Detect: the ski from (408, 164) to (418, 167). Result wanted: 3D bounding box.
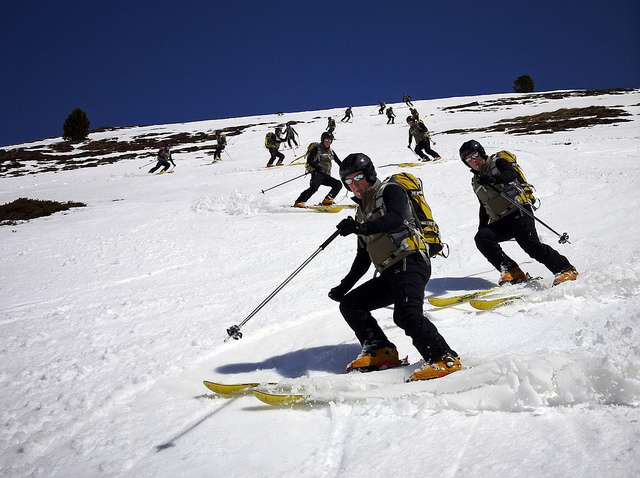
[{"bbox_3d":[3.728,-2.977,18.002,0.304,0.102,0.102,-9,9,24],"label":"ski"}]

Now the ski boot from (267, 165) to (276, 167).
[{"bbox_3d":[-2.418,-3.621,22.206,0.280,0.095,0.205,-5,1,-1],"label":"ski boot"}]

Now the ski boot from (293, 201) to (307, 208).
[{"bbox_3d":[-0.584,-0.969,12.704,0.344,0.205,0.199,-13,8,-3],"label":"ski boot"}]

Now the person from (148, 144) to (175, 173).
[{"bbox_3d":[-8.629,-4.351,24.454,1.117,1.324,2.614,-15,8,-15],"label":"person"}]

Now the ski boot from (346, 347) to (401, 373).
[{"bbox_3d":[0.516,1.327,4.964,0.684,0.219,0.298,-4,49,-7],"label":"ski boot"}]

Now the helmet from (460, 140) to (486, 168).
[{"bbox_3d":[2.340,-1.389,7.140,0.337,0.393,0.452,-31,-3,32],"label":"helmet"}]

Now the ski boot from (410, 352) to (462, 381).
[{"bbox_3d":[1.122,1.220,4.385,0.507,0.179,0.240,-10,8,12],"label":"ski boot"}]

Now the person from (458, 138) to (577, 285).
[{"bbox_3d":[2.833,-0.437,6.693,1.089,2.229,1.310,-11,8,14],"label":"person"}]

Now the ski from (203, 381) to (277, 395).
[{"bbox_3d":[-0.835,1.572,4.750,0.681,0.114,0.135,-6,-10,2],"label":"ski"}]

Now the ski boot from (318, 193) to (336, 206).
[{"bbox_3d":[0.143,-1.130,13.083,0.609,0.398,0.199,-4,-7,-11],"label":"ski boot"}]

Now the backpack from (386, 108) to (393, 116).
[{"bbox_3d":[6.324,-11.787,41.176,0.802,0.377,1.100,1,0,3],"label":"backpack"}]

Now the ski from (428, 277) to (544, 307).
[{"bbox_3d":[2.415,0.763,6.420,1.784,0.179,0.176,-12,20,-10],"label":"ski"}]

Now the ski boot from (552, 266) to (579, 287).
[{"bbox_3d":[3.295,0.501,6.002,0.339,0.148,0.119,-27,1,-5],"label":"ski boot"}]

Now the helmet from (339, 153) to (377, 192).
[{"bbox_3d":[0.461,-0.734,5.072,0.410,0.463,0.518,6,8,41],"label":"helmet"}]

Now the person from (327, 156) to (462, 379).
[{"bbox_3d":[0.666,0.241,4.826,1.218,2.342,1.329,-14,8,-4],"label":"person"}]

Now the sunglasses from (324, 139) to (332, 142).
[{"bbox_3d":[0.260,-2.849,12.921,0.090,0.076,0.294,-6,9,40],"label":"sunglasses"}]

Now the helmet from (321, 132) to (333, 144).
[{"bbox_3d":[0.209,-2.956,13.031,0.388,0.328,0.309,-12,26,-8],"label":"helmet"}]
